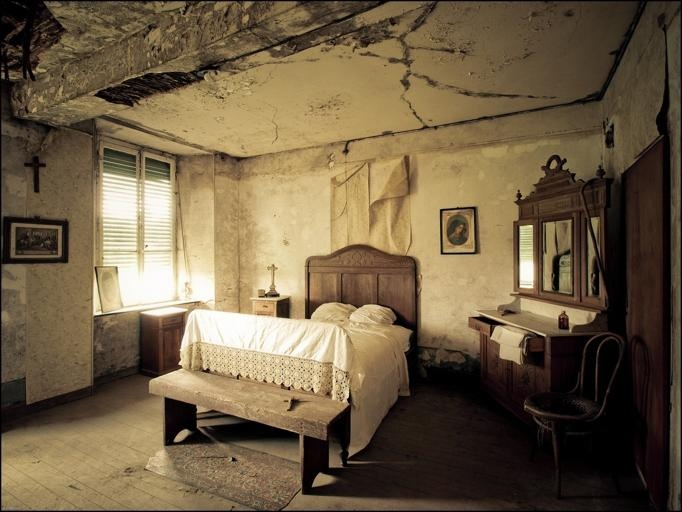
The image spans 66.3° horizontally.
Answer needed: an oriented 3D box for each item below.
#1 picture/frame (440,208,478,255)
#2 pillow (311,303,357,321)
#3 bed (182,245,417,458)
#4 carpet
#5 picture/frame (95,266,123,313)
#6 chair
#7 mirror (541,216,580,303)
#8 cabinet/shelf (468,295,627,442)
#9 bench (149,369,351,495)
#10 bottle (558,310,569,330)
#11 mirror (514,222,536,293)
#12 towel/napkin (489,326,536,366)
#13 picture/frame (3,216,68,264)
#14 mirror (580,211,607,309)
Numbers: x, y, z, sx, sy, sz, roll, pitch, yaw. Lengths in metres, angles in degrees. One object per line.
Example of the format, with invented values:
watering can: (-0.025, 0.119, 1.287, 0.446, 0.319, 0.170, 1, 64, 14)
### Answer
picture/frame: (1.512, -0.307, 6.549, 0.583, 0.764, 0.052, -2, -5, 28)
pillow: (-0.118, 0.756, 6.985, 0.333, 0.101, 0.308, -3, 9, 22)
bed: (-0.184, 0.757, 6.112, 2.326, 1.730, 2.306, 1, -2, 29)
carpet: (-1.042, 1.996, 4.887, 1.466, 0.367, 0.643, -1, -1, 24)
picture/frame: (-3.054, 0.452, 6.877, 0.062, 0.767, 0.611, -6, -3, 14)
chair: (2.126, 1.355, 4.850, 0.793, 1.395, 0.672, 3, 0, 4)
mirror: (2.306, 0.017, 5.531, 0.055, 0.792, 0.430, 0, 0, -21)
cabinet/shelf: (2.313, 1.179, 5.790, 0.970, 1.101, 1.685, 3, -7, -10)
bench: (-0.964, 1.659, 5.170, 2.155, 0.701, 0.613, 4, 6, 28)
bottle: (2.267, 0.647, 5.297, 0.100, 0.169, 0.186, 0, 0, 23)
mirror: (2.103, 0.004, 5.910, 0.045, 0.741, 0.271, 0, 0, -20)
towel/napkin: (1.746, 0.918, 5.323, 0.141, 0.349, 0.356, 13, 0, -37)
picture/frame: (-3.457, -0.185, 5.888, 0.043, 0.554, 0.562, 0, 0, 42)
mirror: (2.508, 0.035, 5.166, 0.039, 0.934, 0.225, -9, 9, -29)
